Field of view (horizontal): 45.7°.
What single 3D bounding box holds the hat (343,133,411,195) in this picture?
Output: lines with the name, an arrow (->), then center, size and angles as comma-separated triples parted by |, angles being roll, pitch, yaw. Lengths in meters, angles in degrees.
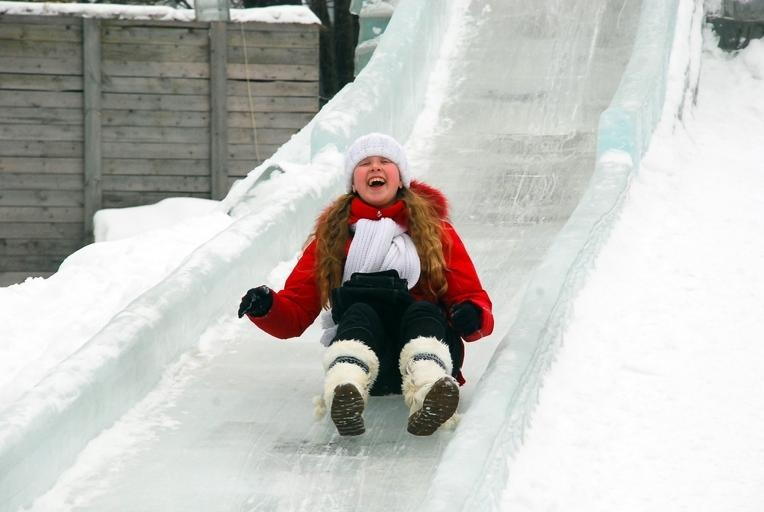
hat -> -0.033, -0.548, 4.949 | 0.287, 0.247, 0.308 | -2, -23, 0

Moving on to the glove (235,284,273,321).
glove -> -0.627, 0.228, 4.466 | 0.130, 0.170, 0.078 | 41, -19, 4

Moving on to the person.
person -> -0.049, 0.092, 4.597 | 1.269, 1.674, 1.178 | 6, -19, -26

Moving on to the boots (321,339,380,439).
boots -> -0.161, 0.608, 4.284 | 0.181, 0.233, 0.522 | 0, 41, -2

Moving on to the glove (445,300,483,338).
glove -> 0.410, 0.301, 4.452 | 0.137, 0.193, 0.086 | 2, 5, -11
